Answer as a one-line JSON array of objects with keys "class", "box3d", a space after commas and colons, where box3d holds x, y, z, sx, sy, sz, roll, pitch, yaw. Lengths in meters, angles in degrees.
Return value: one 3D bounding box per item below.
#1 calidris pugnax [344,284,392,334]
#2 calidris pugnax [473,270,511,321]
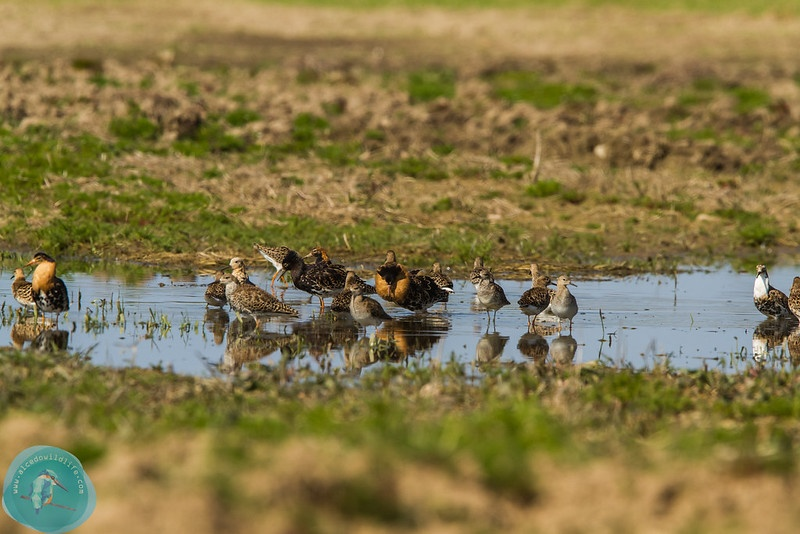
[{"class": "calidris pugnax", "box3d": [-0.821, 1.227, 35.707, 1.087, 1.345, 0.744, 9, 32, 4]}, {"class": "calidris pugnax", "box3d": [2.472, 0.876, 37.153, 0.937, 1.609, 1.037, 8, 31, 4]}]
